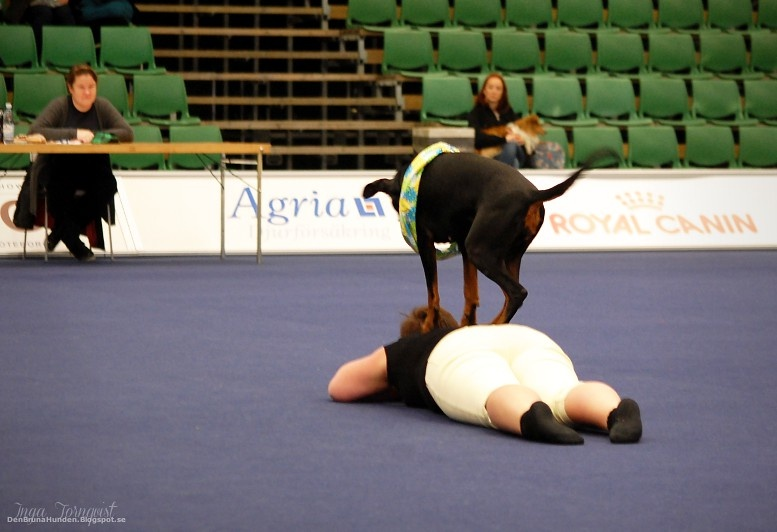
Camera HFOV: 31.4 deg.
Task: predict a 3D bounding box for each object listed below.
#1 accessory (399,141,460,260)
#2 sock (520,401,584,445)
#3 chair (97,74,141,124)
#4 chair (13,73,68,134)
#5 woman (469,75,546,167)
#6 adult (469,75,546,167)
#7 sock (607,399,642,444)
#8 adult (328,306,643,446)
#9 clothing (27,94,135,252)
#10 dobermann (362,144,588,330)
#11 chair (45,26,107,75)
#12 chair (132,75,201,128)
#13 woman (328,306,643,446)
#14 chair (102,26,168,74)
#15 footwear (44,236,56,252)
[{"bbox_3d":[0.260,-0.467,9.860,0.520,0.802,0.299,1,0,-25],"label":"accessory"},{"bbox_3d":[1.050,1.046,8.950,0.378,0.206,0.241,20,25,7],"label":"sock"},{"bbox_3d":[-2.917,-1.760,14.434,0.412,0.623,0.460,-3,4,-38],"label":"chair"},{"bbox_3d":[-3.647,-1.682,14.271,0.490,0.929,0.621,-1,2,-17],"label":"chair"},{"bbox_3d":[1.158,-1.427,13.497,0.785,0.946,0.548,3,8,34],"label":"woman"},{"bbox_3d":[1.149,-1.427,13.500,0.763,0.937,0.541,4,8,33],"label":"adult"},{"bbox_3d":[1.544,1.027,8.950,0.207,0.122,0.340,-3,44,16],"label":"sock"},{"bbox_3d":[0.639,0.785,9.487,1.527,0.898,2.813,6,1,-25],"label":"adult"},{"bbox_3d":[-2.950,-0.985,12.816,0.947,1.676,1.076,8,-1,-7],"label":"clothing"},{"bbox_3d":[0.698,-0.225,9.740,0.598,1.649,2.298,-4,7,-37],"label":"dobermann"},{"bbox_3d":[-3.432,-2.209,14.691,0.606,0.537,0.581,1,34,-13],"label":"chair"},{"bbox_3d":[-2.349,-1.755,14.387,0.642,0.574,0.617,-3,4,-22],"label":"chair"},{"bbox_3d":[0.629,0.769,9.053,0.871,0.522,1.584,3,1,-28],"label":"woman"},{"bbox_3d":[-2.806,-2.365,14.859,0.638,0.577,0.583,-4,1,-25],"label":"chair"},{"bbox_3d":[-3.267,-0.202,13.188,0.078,0.139,0.141,2,-6,-12],"label":"footwear"}]
